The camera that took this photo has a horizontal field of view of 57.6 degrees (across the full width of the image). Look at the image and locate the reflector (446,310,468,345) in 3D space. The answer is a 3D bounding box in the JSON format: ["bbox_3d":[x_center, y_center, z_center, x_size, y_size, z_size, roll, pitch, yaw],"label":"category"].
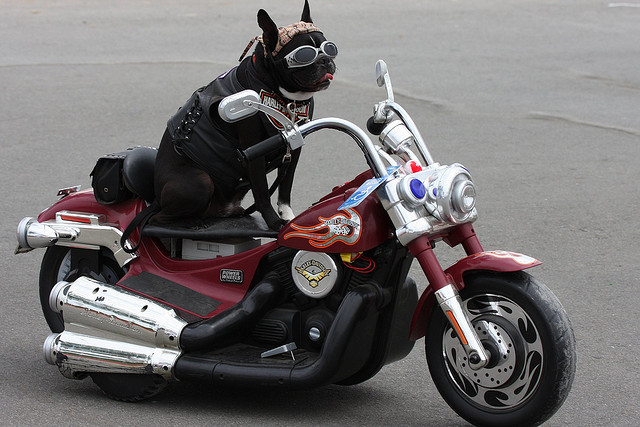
[{"bbox_3d":[0.773,0.636,3.302,0.056,0.036,0.235,-30,88,16],"label":"reflector"}]
